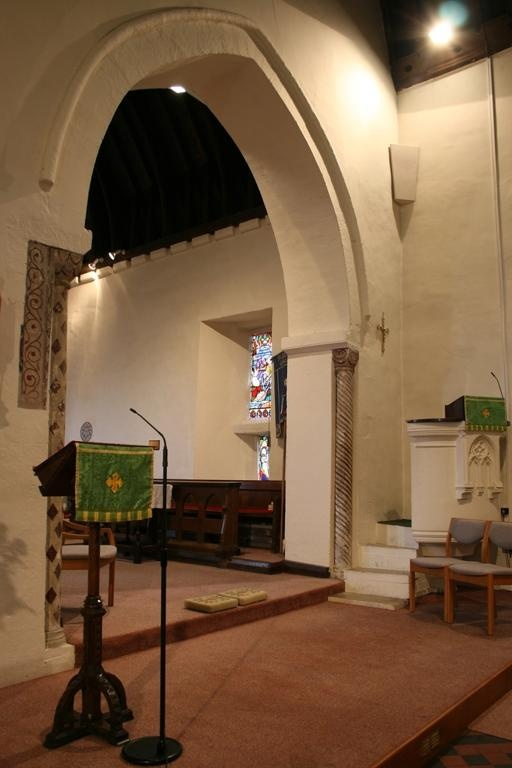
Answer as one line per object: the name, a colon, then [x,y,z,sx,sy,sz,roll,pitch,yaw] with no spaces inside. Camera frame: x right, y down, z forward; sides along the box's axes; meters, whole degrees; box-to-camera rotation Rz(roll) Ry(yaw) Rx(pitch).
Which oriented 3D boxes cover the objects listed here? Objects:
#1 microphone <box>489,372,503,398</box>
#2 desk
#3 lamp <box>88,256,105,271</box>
microphone: [2.178,0.000,5.642,0.022,0.242,0.145,8,-9,-32]
desk: [-1.445,1.439,6.069,0.642,0.708,1.075,-11,-20,0]
lamp: [-2.601,-1.947,10.136,0.276,0.292,0.163,7,5,34]
